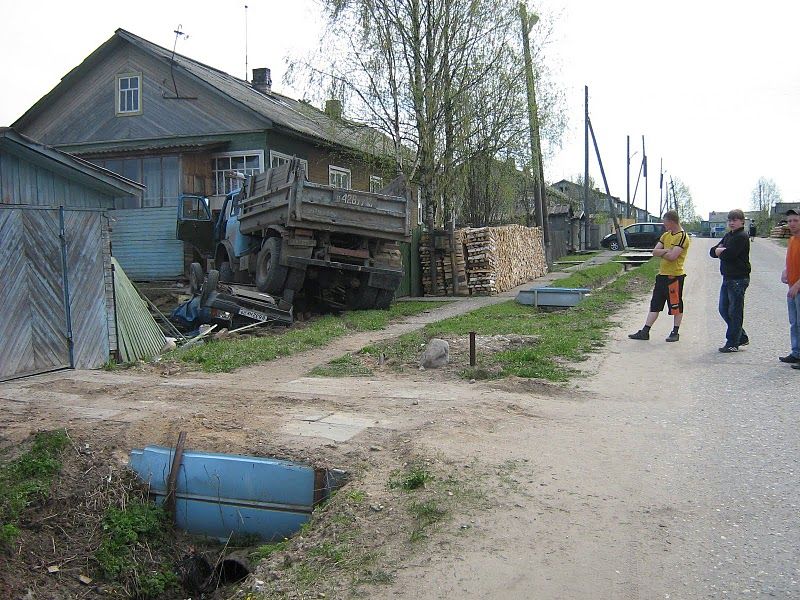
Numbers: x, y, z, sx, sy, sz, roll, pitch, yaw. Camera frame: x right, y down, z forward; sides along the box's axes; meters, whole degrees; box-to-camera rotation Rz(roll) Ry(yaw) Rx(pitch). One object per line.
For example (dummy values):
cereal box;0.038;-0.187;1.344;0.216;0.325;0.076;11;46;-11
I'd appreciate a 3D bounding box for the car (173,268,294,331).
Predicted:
car;-3.682;0.033;16.986;1.941;1.372;3.093;14;1;-18

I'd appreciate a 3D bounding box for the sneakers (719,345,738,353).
sneakers;4.972;0.750;10.762;0.296;0.137;0.113;1;3;11

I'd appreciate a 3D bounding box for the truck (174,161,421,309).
truck;-2.881;-1.607;18.708;4.740;3.296;6.729;5;-4;-32
